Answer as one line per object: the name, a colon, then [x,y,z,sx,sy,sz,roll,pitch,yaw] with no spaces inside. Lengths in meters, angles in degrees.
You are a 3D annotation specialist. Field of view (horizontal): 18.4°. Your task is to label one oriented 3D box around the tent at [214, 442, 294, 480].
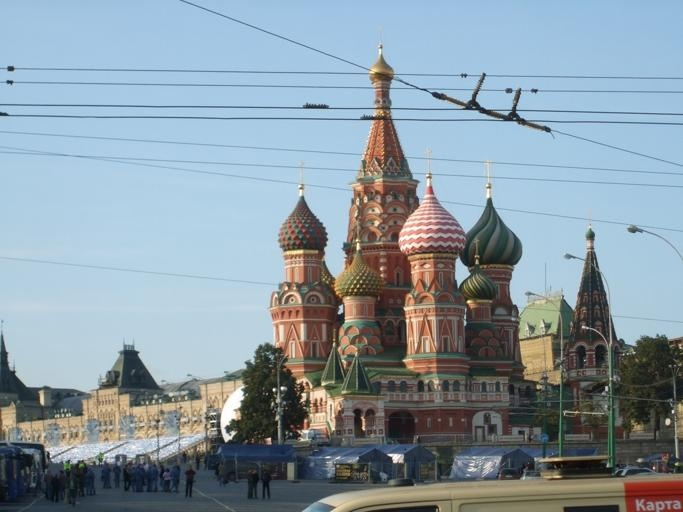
tent: [-6.511,15.721,162.029,6.050,2.676,6.283,-2,-13,-4]
